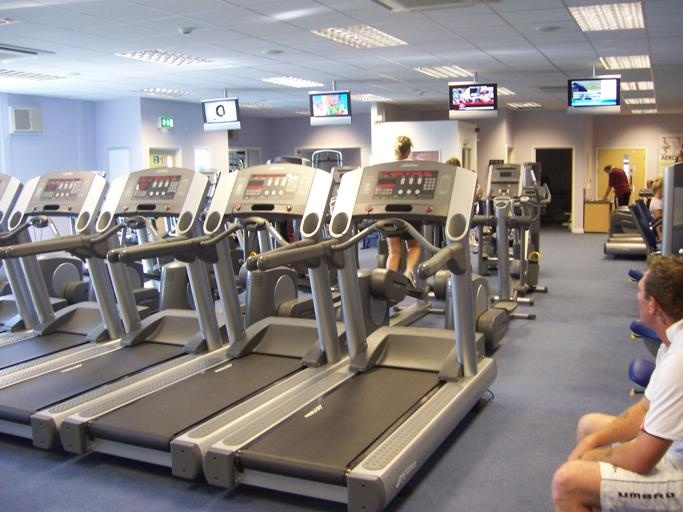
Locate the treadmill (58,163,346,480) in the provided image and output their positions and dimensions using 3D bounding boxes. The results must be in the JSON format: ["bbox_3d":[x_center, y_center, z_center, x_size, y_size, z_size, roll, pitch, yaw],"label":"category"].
[{"bbox_3d":[-0.818,0.273,3.545,1.108,1.574,2.252,1,3,17],"label":"treadmill"}]

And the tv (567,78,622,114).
[{"bbox_3d":[4.732,-3.022,9.656,0.886,0.652,0.251,1,14,14],"label":"tv"}]

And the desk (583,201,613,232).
[{"bbox_3d":[7.341,-1.227,14.763,0.721,0.977,1.418,1,7,22],"label":"desk"}]
